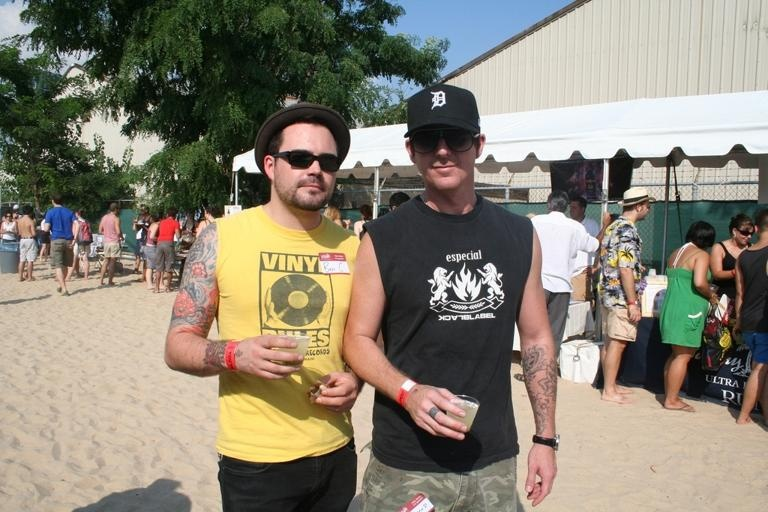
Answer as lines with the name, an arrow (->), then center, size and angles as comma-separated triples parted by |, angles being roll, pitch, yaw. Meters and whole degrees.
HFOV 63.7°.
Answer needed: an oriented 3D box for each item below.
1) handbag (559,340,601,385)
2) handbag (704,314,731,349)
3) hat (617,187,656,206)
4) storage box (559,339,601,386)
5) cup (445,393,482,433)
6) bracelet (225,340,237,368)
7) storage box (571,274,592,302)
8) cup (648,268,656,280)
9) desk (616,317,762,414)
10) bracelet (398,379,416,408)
handbag -> 2.931, 1.563, 9.265 | 0.540, 0.537, 0.548 | 1, -1, -28
handbag -> 4.387, 0.975, 8.136 | 0.445, 0.455, 0.162 | -1, 14, -8
hat -> 3.395, -0.815, 8.304 | 0.427, 0.178, 0.393 | -6, 11, 33
storage box -> 2.906, 1.557, 9.170 | 0.545, 0.510, 0.546 | 1, 0, -39
cup -> 0.551, 1.062, 4.207 | 0.218, 0.202, 0.248 | 2, -9, 0
bracelet -> -1.081, 0.692, 4.350 | 0.090, 0.180, 0.068 | 2, 14, 3
storage box -> 3.331, 0.515, 10.400 | 0.335, 0.350, 0.626 | -2, -31, 7
cup -> 4.703, 0.308, 10.844 | 0.110, 0.191, 0.112 | 2, -10, 0
desk -> 4.177, 1.603, 8.670 | 1.181, 0.508, 1.238 | 12, 0, 12
bracelet -> 0.154, 0.944, 4.279 | 0.124, 0.163, 0.080 | -8, 17, -32
